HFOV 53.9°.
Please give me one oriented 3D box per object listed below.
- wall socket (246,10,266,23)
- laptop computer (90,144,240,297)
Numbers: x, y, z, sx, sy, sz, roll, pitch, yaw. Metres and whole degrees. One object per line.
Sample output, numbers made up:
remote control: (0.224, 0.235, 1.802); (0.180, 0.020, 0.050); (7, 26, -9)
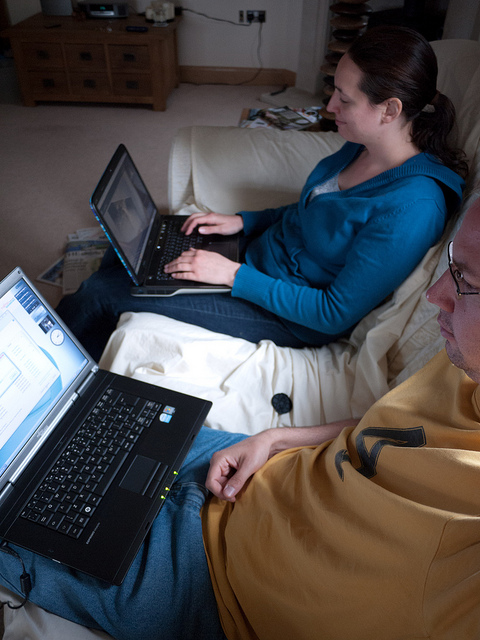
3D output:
wall socket: (0.129, -2.569, 3.976); (0.166, 0.099, 0.022); (10, 45, 8)
laptop computer: (-0.188, -0.317, 1.467); (0.461, 0.265, 0.522); (8, 38, 6)
